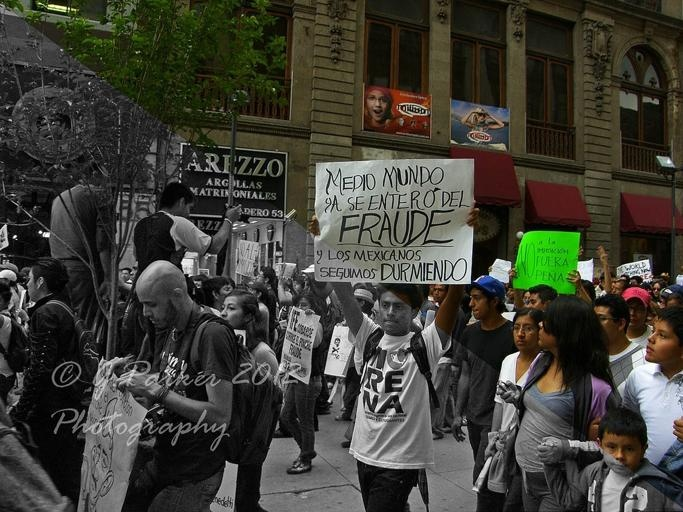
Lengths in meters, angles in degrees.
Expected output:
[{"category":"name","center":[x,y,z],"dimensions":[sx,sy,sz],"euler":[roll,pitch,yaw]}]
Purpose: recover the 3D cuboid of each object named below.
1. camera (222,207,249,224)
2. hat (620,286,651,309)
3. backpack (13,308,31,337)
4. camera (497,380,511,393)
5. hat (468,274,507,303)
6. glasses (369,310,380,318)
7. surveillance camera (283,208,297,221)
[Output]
[{"category":"camera","center":[-1.010,-0.401,6.981],"dimensions":[0.184,0.112,0.495],"euler":[4,1,-3]},{"category":"hat","center":[3.023,0.389,7.499],"dimensions":[0.246,0.152,0.385],"euler":[0,-17,38]},{"category":"backpack","center":[-3.409,0.685,7.835],"dimensions":[0.104,0.325,0.226],"euler":[-3,1,-18]},{"category":"camera","center":[1.366,1.057,6.180],"dimensions":[0.074,0.038,0.103],"euler":[5,44,24]},{"category":"hat","center":[1.402,0.286,7.100],"dimensions":[0.314,0.177,0.230],"euler":[29,3,6]},{"category":"glasses","center":[0.268,0.477,6.222],"dimensions":[0.032,0.061,0.133],"euler":[3,1,-17]},{"category":"surveillance camera","center":[-0.464,-0.385,6.711],"dimensions":[0.094,0.073,0.256],"euler":[5,-4,-8]}]
